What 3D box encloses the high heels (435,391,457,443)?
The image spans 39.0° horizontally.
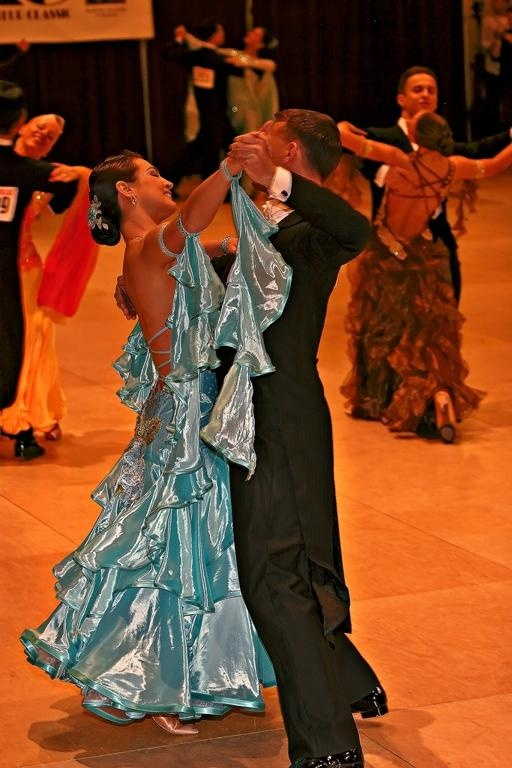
[{"bbox_3d":[1.107,0.196,4.252,0.120,0.291,0.132,-5,-13,13],"label":"high heels"}]

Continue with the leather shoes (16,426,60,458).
[{"bbox_3d":[-1.260,0.329,4.198,0.225,0.126,0.217,-25,14,-18],"label":"leather shoes"}]
